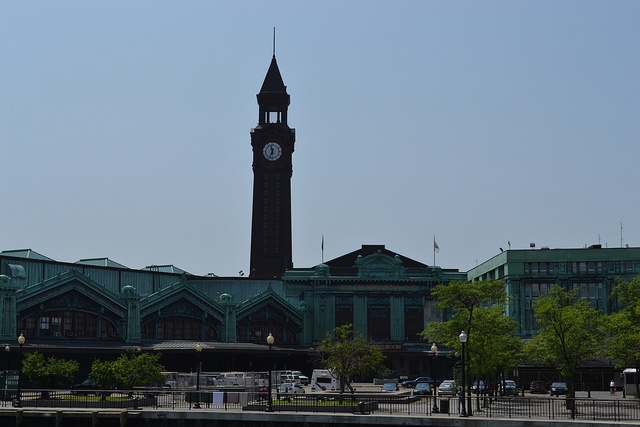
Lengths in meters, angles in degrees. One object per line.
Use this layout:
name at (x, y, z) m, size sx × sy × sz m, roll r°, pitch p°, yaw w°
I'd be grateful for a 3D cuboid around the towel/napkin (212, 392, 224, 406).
towel/napkin at (-10.953, 20.029, 168.832) m, size 1.619 × 1.801 × 0.199 m, roll 0°, pitch -20°, yaw -4°

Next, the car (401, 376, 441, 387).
car at (13.498, 22.827, 210.343) m, size 4.368 × 1.410 × 1.795 m, roll 2°, pitch -3°, yaw 4°

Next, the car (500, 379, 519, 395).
car at (24.395, 22.244, 198.749) m, size 1.621 × 1.205 × 2.644 m, roll 0°, pitch -15°, yaw -3°

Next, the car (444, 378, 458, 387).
car at (16.879, 21.599, 199.923) m, size 1.299 × 0.735 × 2.193 m, roll 0°, pitch -9°, yaw 7°

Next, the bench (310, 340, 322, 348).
bench at (-0.361, 19.275, 231.366) m, size 1.130 × 0.995 × 1.106 m, roll 1°, pitch -7°, yaw -3°

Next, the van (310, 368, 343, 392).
van at (1.132, 21.583, 201.917) m, size 3.122 × 2.539 × 5.090 m, roll 0°, pitch -4°, yaw 3°

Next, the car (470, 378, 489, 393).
car at (20.316, 21.775, 197.034) m, size 2.203 × 1.970 × 3.761 m, roll 0°, pitch -13°, yaw -1°
